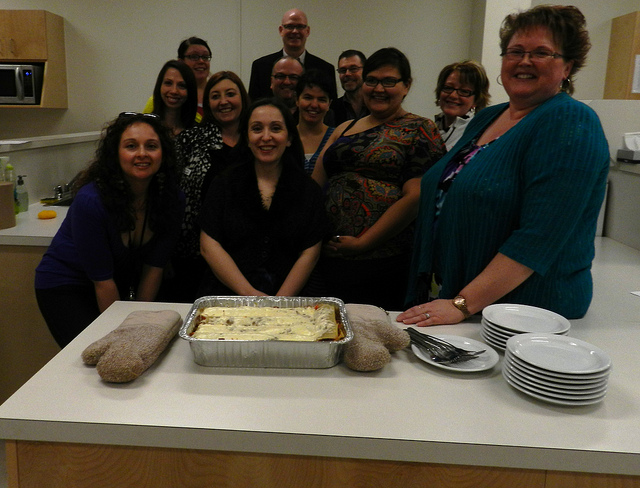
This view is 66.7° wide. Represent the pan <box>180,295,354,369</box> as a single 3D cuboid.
[{"bbox_3d":[-0.161,0.270,1.572,0.518,0.137,0.368,1,12,-1],"label":"pan"}]

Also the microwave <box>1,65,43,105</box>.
[{"bbox_3d":[-3.522,-1.874,5.706,0.454,0.463,0.209,-5,14,-25],"label":"microwave"}]

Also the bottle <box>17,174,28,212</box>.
[{"bbox_3d":[-2.019,-0.338,3.269,0.039,0.237,0.126,-3,14,-18],"label":"bottle"}]

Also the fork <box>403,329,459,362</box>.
[{"bbox_3d":[0.356,0.308,1.501,0.045,0.008,0.143,-13,30,-37],"label":"fork"}]

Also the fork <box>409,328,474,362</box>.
[{"bbox_3d":[0.380,0.321,1.529,0.182,0.021,0.024,24,2,41],"label":"fork"}]

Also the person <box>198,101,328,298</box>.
[{"bbox_3d":[-0.264,-0.207,2.318,0.506,0.935,0.509,10,15,33],"label":"person"}]

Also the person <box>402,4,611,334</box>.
[{"bbox_3d":[0.669,-0.252,1.801,0.676,1.185,0.725,10,16,35],"label":"person"}]
